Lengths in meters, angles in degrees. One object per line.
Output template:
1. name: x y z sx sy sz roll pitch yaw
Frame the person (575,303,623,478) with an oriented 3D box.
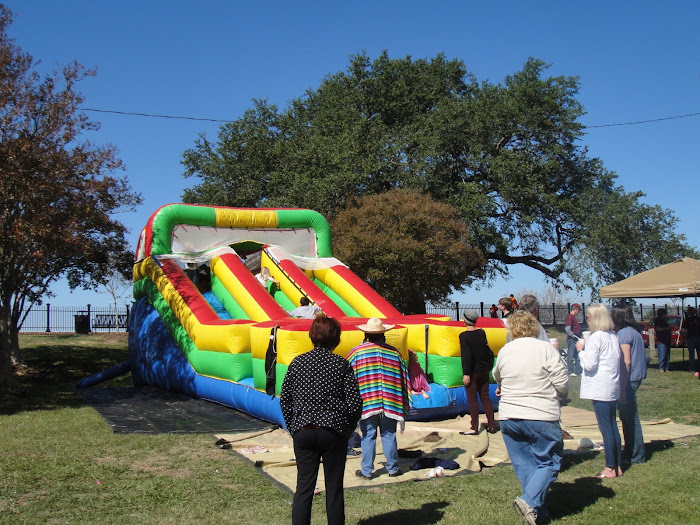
1. person: 3.367 1.700 8.052 0.638 2.317 0.412 1 -5 -32

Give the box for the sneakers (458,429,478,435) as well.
1. sneakers: 2.025 2.876 10.302 0.237 0.054 0.121 3 -8 3

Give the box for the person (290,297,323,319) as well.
1. person: -0.966 0.997 13.628 0.396 0.283 0.819 -12 12 -7

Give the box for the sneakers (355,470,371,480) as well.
1. sneakers: 0.188 2.880 8.312 0.079 0.107 0.237 5 2 -24

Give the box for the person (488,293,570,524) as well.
1. person: 2.102 1.768 7.005 0.831 2.462 0.479 -4 -5 20

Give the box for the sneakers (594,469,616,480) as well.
1. sneakers: 3.420 2.832 8.158 0.099 0.121 0.281 7 -6 -31

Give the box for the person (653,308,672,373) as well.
1. person: 9.159 2.218 17.724 0.392 1.781 1.216 -4 -5 26
